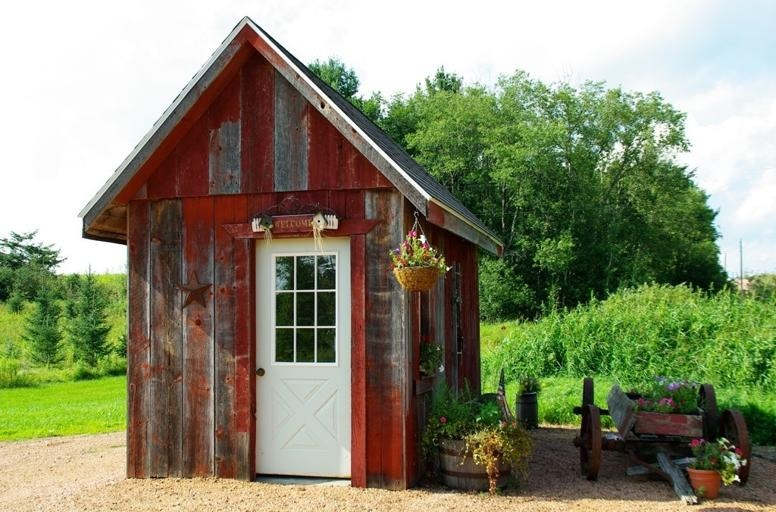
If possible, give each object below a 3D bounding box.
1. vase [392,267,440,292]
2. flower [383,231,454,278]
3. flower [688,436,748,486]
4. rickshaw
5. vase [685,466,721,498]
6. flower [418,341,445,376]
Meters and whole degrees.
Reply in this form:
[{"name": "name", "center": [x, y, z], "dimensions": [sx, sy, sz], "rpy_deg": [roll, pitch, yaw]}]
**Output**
[{"name": "vase", "center": [0.537, 0.413, 14.553], "dimensions": [0.542, 0.311, 0.563], "rpy_deg": [-3, -5, 29]}, {"name": "flower", "center": [0.513, -0.089, 14.601], "dimensions": [0.761, 0.530, 0.978], "rpy_deg": [6, -10, -31]}, {"name": "flower", "center": [6.161, 3.773, 14.542], "dimensions": [0.857, 0.683, 0.908], "rpy_deg": [-1, -5, 8]}, {"name": "rickshaw", "center": [5.638, 3.747, 15.894], "dimensions": [2.829, 2.372, 2.837], "rpy_deg": [-3, -6, 23]}, {"name": "vase", "center": [5.896, 4.210, 14.532], "dimensions": [0.499, 0.412, 0.528], "rpy_deg": [-2, -7, 13]}, {"name": "flower", "center": [0.868, 2.006, 15.499], "dimensions": [0.545, 0.761, 0.731], "rpy_deg": [-1, -2, 10]}]
